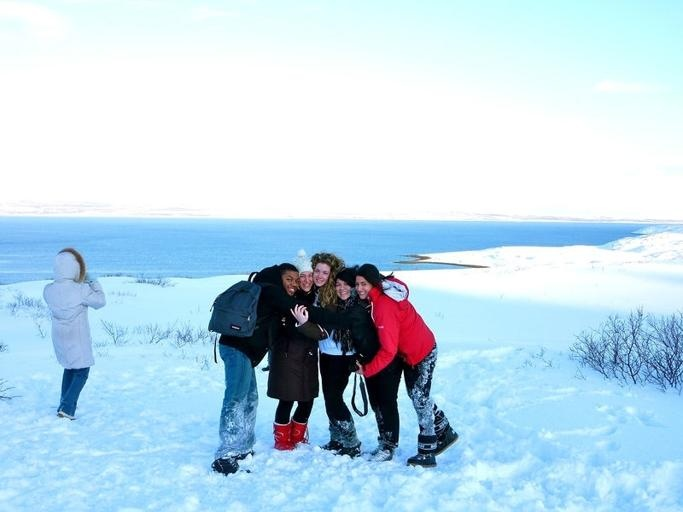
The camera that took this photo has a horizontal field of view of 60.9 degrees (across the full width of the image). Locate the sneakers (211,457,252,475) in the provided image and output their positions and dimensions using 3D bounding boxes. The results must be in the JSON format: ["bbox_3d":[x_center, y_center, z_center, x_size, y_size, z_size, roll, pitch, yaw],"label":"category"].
[{"bbox_3d":[-1.513,2.917,8.084,0.564,0.201,0.242,5,-13,-3],"label":"sneakers"}]

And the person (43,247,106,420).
[{"bbox_3d":[-4.316,1.235,9.342,0.865,2.662,0.770,-1,6,-24],"label":"person"}]

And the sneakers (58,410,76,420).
[{"bbox_3d":[-4.321,2.507,9.123,0.217,0.079,0.137,28,-7,21],"label":"sneakers"}]

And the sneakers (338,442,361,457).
[{"bbox_3d":[0.109,2.920,8.702,0.302,0.196,0.172,11,-13,-14],"label":"sneakers"}]

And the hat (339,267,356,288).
[{"bbox_3d":[0.053,0.332,8.555,0.238,0.226,0.279,5,17,-12],"label":"hat"}]

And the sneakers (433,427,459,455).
[{"bbox_3d":[1.598,2.800,8.891,0.214,0.235,0.607,-15,15,45],"label":"sneakers"}]

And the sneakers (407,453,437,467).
[{"bbox_3d":[1.155,2.982,8.388,0.325,0.141,0.189,5,-7,0],"label":"sneakers"}]

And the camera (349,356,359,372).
[{"bbox_3d":[0.190,1.586,8.385,0.049,0.178,0.133,-6,-31,-23],"label":"camera"}]

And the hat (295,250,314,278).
[{"bbox_3d":[-0.600,0.110,8.727,0.272,0.325,0.161,-7,0,-24],"label":"hat"}]
